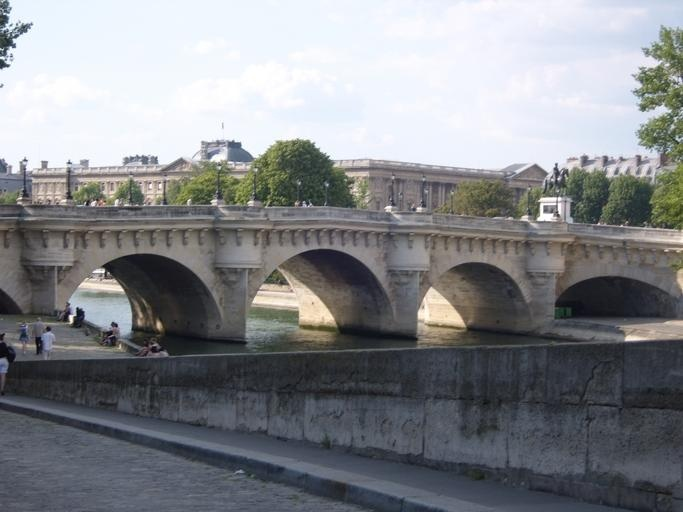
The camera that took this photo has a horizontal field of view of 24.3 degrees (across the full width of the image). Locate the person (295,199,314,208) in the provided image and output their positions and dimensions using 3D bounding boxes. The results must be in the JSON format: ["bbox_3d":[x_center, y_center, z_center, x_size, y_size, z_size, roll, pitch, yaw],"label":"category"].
[{"bbox_3d":[-2.473,-3.367,102.695,1.290,0.687,1.651,0,-1,-5],"label":"person"}]
